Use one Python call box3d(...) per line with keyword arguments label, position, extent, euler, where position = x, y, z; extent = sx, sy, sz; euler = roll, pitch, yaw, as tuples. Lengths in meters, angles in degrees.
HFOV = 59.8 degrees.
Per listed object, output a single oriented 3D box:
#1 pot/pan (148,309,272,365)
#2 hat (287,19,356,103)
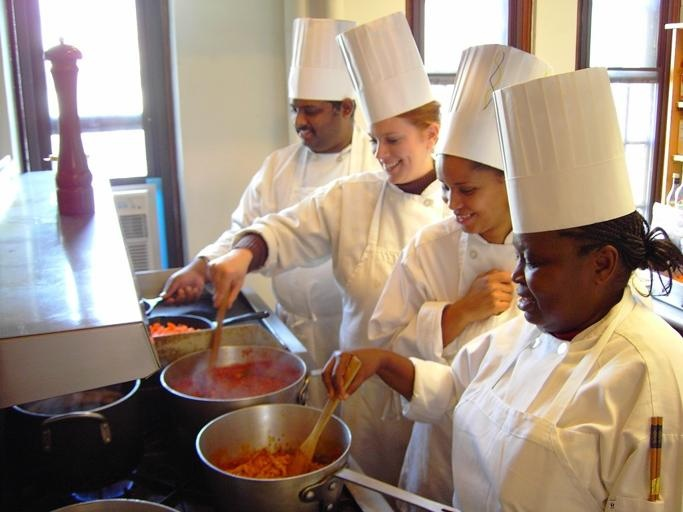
box3d(label="pot/pan", position=(-0.370, 0.229, 1.723), extent=(0.282, 0.111, 0.178), euler=(-1, 8, -29))
box3d(label="hat", position=(-0.094, -0.767, 2.476), extent=(0.300, 0.368, 0.323), euler=(-1, -4, 0))
